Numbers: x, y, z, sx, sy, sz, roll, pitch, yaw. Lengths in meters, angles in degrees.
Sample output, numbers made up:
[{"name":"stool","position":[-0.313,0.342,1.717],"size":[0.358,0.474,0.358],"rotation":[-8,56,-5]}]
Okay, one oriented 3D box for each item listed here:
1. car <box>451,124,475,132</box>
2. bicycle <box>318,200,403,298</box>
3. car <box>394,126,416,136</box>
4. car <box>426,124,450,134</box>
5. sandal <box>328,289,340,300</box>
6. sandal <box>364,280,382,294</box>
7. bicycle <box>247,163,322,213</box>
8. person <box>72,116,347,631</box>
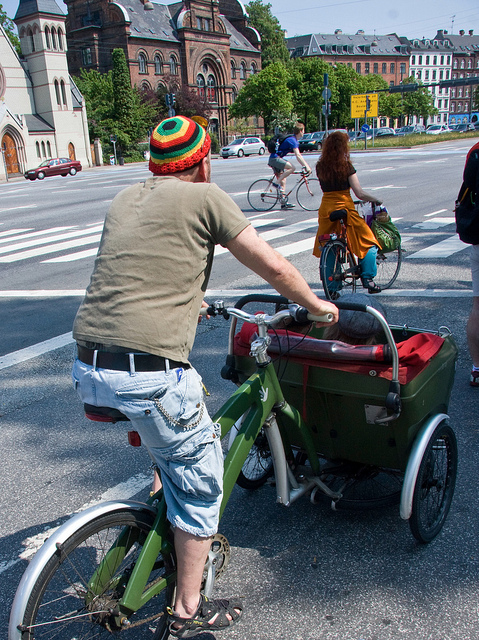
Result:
[{"name":"car","position":[30.102,-25.975,71.614],"size":[2.587,1.224,9.721],"rotation":[2,17,21]},{"name":"bicycle","position":[1.827,-0.836,6.756],"size":[0.815,1.070,1.829],"rotation":[8,27,40]},{"name":"car","position":[22.364,-25.545,71.209],"size":[2.207,0.993,3.617],"rotation":[3,17,23]},{"name":"car","position":[27.314,-26.548,73.558],"size":[2.496,1.160,4.149],"rotation":[-4,16,1]},{"name":"sandal","position":[1.168,-0.295,6.530],"size":[0.134,0.122,0.033],"rotation":[2,-29,-46]},{"name":"sandal","position":[1.711,-0.432,6.998],"size":[0.348,0.139,0.114],"rotation":[11,-3,-41]},{"name":"bicycle","position":[1.333,-3.729,14.903],"size":[2.230,1.314,0.765],"rotation":[1,10,2]},{"name":"person","position":[-0.159,0.222,1.668],"size":[0.622,1.648,0.384],"rotation":[-16,20,-32]}]
